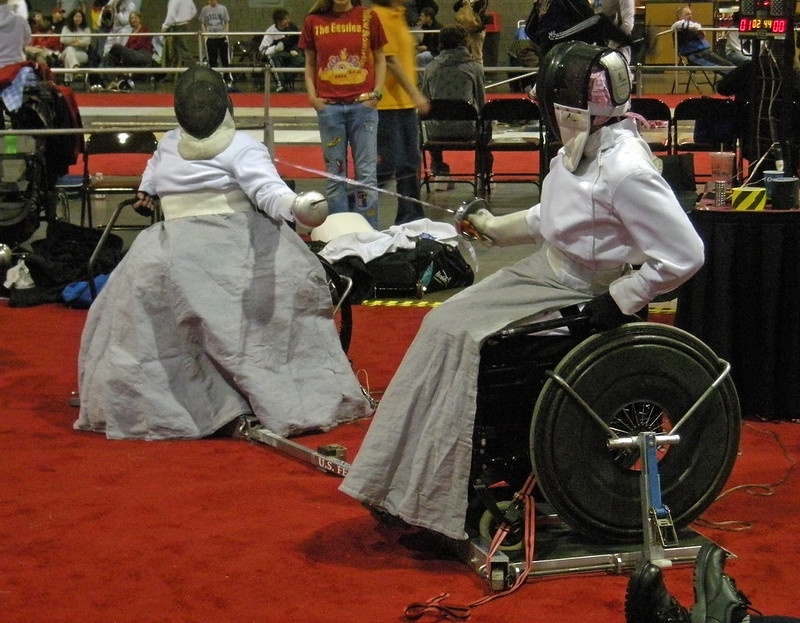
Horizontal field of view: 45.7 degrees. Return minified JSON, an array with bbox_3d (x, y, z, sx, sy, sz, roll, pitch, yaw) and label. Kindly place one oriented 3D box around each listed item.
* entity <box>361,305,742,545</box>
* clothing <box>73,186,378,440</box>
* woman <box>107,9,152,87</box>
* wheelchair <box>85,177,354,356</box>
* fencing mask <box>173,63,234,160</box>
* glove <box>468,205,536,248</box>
[{"bbox_3d":[0.657,0.429,3.649,1.006,0.796,0.841,-2,5,-8],"label":"entity"},{"bbox_3d":[-0.971,0.056,4.745,1.294,0.769,1.164,-4,2,36],"label":"clothing"},{"bbox_3d":[-4.779,-4.612,16.635,0.530,1.303,0.854,16,20,34],"label":"woman"},{"bbox_3d":[-1.396,-0.045,6.246,1.349,1.398,1.710,-13,-2,-21],"label":"wheelchair"},{"bbox_3d":[-0.978,-0.998,4.652,0.341,0.427,0.133,-8,-7,-4],"label":"fencing mask"},{"bbox_3d":[0.389,-0.317,3.624,0.107,0.134,0.342,12,-4,-41],"label":"glove"}]
